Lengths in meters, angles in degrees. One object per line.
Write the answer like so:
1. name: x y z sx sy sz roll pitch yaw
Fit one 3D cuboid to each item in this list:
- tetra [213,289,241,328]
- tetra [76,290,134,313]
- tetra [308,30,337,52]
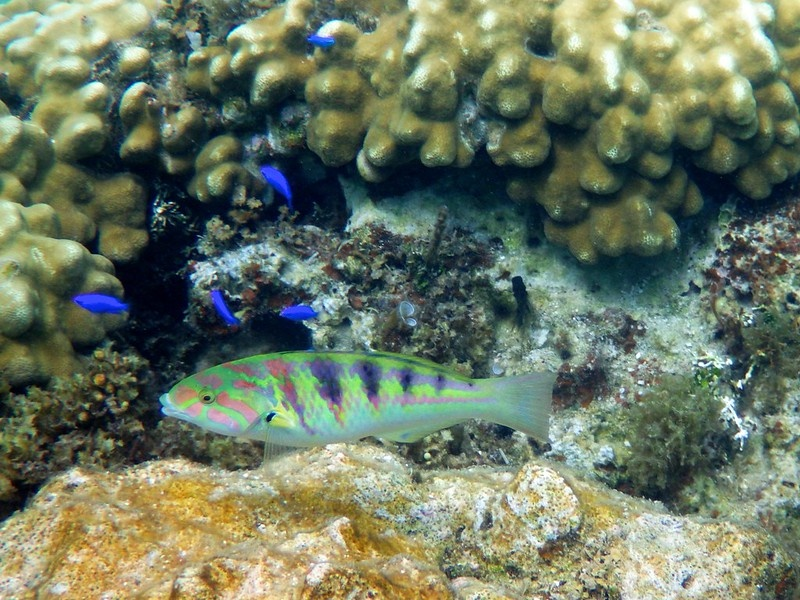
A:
1. tetra: -1.859 0.090 9.914 0.098 0.245 0.416 -22 98 -6
2. tetra: -3.081 0.019 9.628 0.398 0.176 0.091 5 73 -28
3. tetra: -0.845 -2.701 9.896 0.255 0.177 0.078 22 35 21
